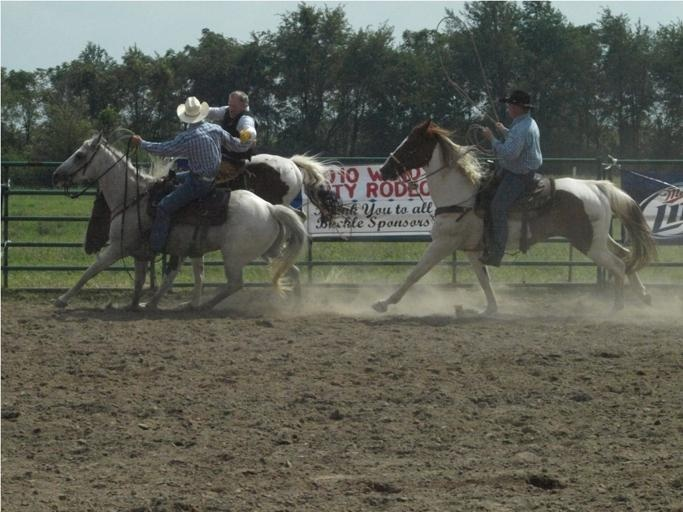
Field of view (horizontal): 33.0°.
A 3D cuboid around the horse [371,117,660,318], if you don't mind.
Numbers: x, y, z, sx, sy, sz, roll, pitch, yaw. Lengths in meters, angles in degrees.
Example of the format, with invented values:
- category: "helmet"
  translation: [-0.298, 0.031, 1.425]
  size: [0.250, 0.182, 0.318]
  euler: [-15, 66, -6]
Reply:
- category: "horse"
  translation: [2.625, -0.433, 16.860]
  size: [4.467, 2.757, 0.946]
  euler: [1, 1, -15]

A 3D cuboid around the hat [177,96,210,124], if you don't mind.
- category: "hat"
  translation: [-2.082, -2.030, 16.206]
  size: [0.423, 0.409, 0.958]
  euler: [2, 2, -7]
